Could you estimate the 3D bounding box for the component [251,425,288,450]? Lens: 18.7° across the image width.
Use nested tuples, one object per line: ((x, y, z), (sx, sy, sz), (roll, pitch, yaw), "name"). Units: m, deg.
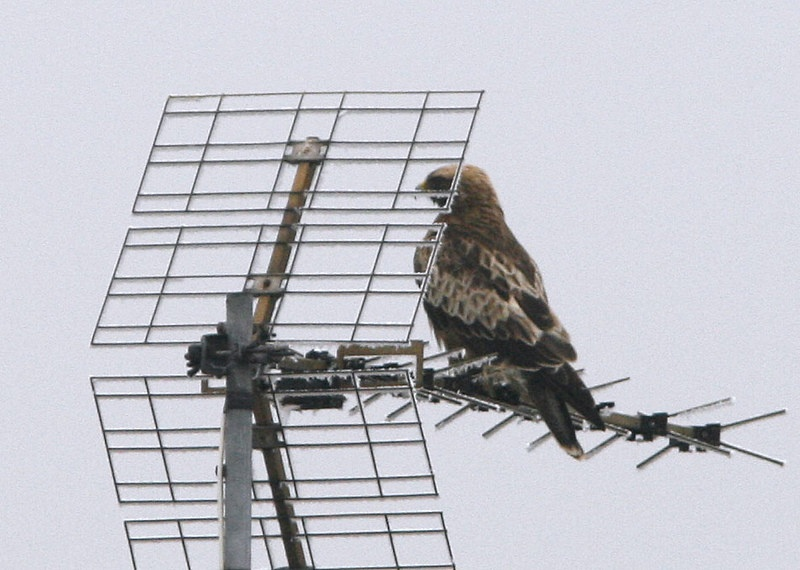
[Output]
((-1.592, 1.798, 29.099), (0.493, 0.258, 0.308), (2, -88, 16), "component")
